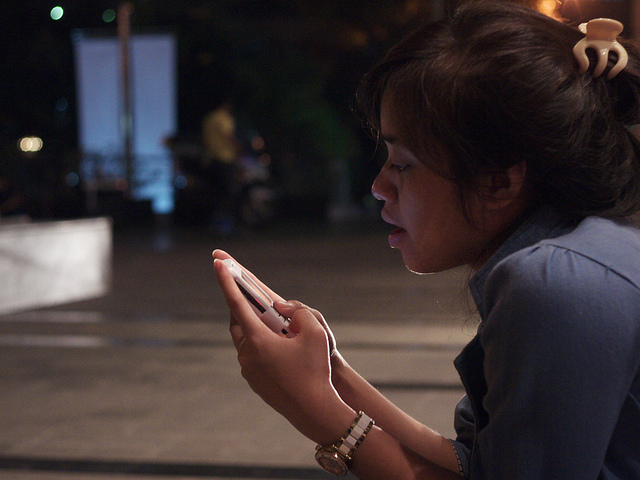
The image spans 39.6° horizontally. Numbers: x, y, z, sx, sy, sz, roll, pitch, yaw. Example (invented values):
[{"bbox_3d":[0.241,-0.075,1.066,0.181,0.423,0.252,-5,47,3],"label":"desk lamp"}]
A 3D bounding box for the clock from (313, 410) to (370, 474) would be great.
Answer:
[{"bbox_3d":[0.055,0.491,2.148,0.097,0.063,0.099,-50,9,-31],"label":"clock"}]
